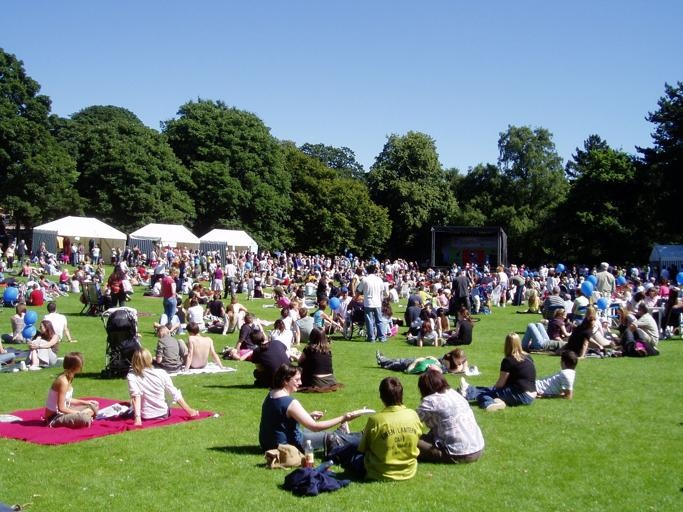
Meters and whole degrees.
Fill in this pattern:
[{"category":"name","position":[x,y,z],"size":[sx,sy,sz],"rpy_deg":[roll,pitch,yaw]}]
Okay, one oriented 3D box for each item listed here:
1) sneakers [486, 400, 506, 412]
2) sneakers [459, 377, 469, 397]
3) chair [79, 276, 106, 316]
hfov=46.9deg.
[{"category":"sneakers","position":[2.823,2.789,14.451],"size":[0.345,0.170,0.159],"rpy_deg":[-26,61,-41]},{"category":"sneakers","position":[2.339,2.518,15.076],"size":[0.134,0.442,0.178],"rpy_deg":[1,-2,6]},{"category":"chair","position":[-7.902,1.382,25.324],"size":[0.871,1.084,0.981],"rpy_deg":[4,0,-9]}]
